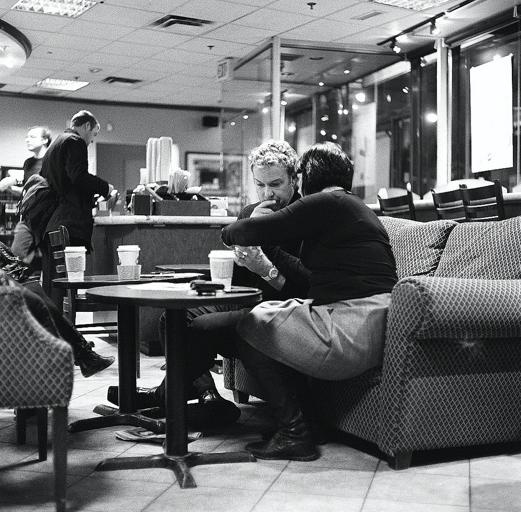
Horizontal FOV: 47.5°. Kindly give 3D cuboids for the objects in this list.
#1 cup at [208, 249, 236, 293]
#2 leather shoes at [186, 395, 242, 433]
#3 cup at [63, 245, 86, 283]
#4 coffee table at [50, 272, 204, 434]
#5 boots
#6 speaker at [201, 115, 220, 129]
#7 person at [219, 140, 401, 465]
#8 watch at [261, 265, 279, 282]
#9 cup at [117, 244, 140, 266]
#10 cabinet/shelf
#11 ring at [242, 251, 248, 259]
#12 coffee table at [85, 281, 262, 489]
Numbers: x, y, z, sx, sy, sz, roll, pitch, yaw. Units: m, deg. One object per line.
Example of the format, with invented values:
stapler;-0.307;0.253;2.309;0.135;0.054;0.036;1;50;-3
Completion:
cup;-0.164;0.063;2.122;0.122;0.150;0.117;0;2;0
leather shoes;-0.188;0.707;2.692;0.253;0.177;0.432;-8;-11;-2
cup;-0.818;0.036;2.623;0.098;0.144;0.108;-6;2;-37
coffee table;-0.662;0.395;2.686;0.721;0.551;0.753;1;-2;-15
boots;0.078;0.572;2.155;0.282;0.344;0.156;2;2;26
speaker;-0.971;-2.645;11.642;0.408;0.275;0.220;0;-7;-12
person;0.178;0.162;2.271;0.715;1.166;0.602;4;-6;2
watch;0.034;0.076;2.259;0.066;0.043;0.070;-9;11;44
cup;-0.602;-0.002;2.712;0.124;0.103;0.124;-1;-3;0
cabinet/shelf;-0.828;0.357;4.897;1.058;1.227;1.263;2;-2;-20
ring;-0.055;-0.003;2.129;0.015;0.015;0.018;-2;3;-23
coffee table;-0.277;0.418;2.057;0.568;0.564;0.534;-10;-18;11
